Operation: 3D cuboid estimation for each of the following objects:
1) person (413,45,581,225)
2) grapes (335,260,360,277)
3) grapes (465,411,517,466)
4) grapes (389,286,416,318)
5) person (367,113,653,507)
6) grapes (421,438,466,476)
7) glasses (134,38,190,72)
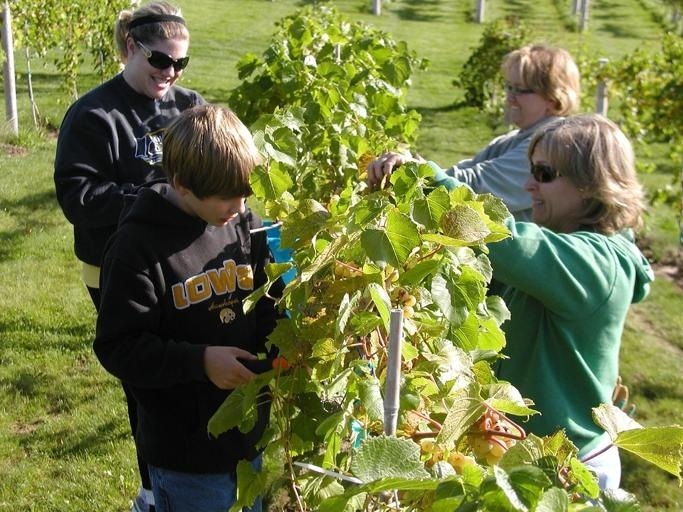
[{"bbox_3d":[0.724,-0.715,4.780,0.923,1.130,0.730,4,18,0],"label":"person"},{"bbox_3d":[0.019,0.047,3.376,0.087,0.049,0.029,34,64,7],"label":"grapes"},{"bbox_3d":[0.519,0.633,3.295,0.153,0.142,0.194,-15,55,-29],"label":"grapes"},{"bbox_3d":[0.225,0.164,3.327,0.040,0.099,0.099,-19,46,-34],"label":"grapes"},{"bbox_3d":[0.973,0.119,3.913,0.712,1.428,0.500,5,13,8],"label":"person"},{"bbox_3d":[0.349,0.702,3.229,0.143,0.062,0.093,33,48,20],"label":"grapes"},{"bbox_3d":[-0.910,-1.034,4.665,0.279,0.148,0.149,-2,14,-21],"label":"glasses"}]
